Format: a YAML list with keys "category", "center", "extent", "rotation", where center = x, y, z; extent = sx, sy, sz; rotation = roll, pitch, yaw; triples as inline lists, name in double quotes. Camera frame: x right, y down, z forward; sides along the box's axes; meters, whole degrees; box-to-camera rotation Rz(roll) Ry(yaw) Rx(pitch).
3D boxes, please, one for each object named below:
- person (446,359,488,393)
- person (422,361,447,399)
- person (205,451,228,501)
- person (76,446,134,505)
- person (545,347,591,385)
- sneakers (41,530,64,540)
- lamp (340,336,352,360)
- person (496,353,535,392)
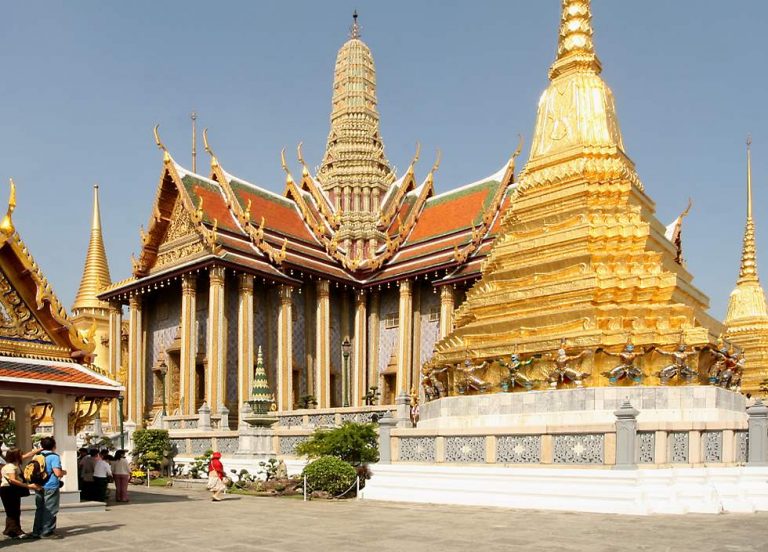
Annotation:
- category: "person"
  center: [1.802, 2.140, 25.084]
  extent: [0.258, 0.574, 0.732]
  rotation: [18, -23, -36]
- category: "person"
  center: [1.121, 2.309, 26.034]
  extent: [0.434, 1.017, 0.937]
  rotation: [4, -10, -20]
- category: "person"
  center: [-3.306, 3.929, 22.890]
  extent: [0.306, 1.010, 0.983]
  rotation: [3, -16, -8]
- category: "person"
  center: [-5.518, 3.920, 22.888]
  extent: [1.124, 1.126, 0.971]
  rotation: [-5, -8, 30]
- category: "person"
  center: [3.780, 1.837, 23.861]
  extent: [0.798, 0.567, 0.233]
  rotation: [-9, -14, 36]
- category: "sneakers"
  center: [-5.231, 4.087, 18.369]
  extent: [0.293, 0.110, 0.123]
  rotation: [0, -9, -6]
- category: "lamp"
  center: [-1.206, 2.277, 36.817]
  extent: [0.359, 0.862, 0.758]
  rotation: [1, -16, -2]
- category: "person"
  center: [2.788, 2.051, 24.475]
  extent: [0.531, 0.747, 0.647]
  rotation: [5, -17, -16]
